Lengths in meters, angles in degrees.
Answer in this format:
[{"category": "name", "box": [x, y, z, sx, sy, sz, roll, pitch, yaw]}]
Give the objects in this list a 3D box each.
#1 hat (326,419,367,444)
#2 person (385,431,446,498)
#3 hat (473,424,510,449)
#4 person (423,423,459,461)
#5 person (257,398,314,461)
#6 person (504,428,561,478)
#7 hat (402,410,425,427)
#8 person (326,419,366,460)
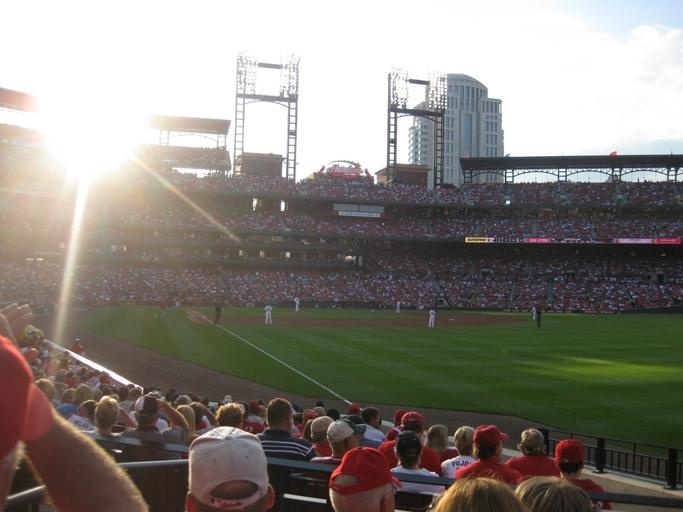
[{"category": "hat", "box": [0.123, 3.405, 15.868, 0.676, 0.252, 0.414, -4, 5, -41]}, {"category": "person", "box": [1.224, 3.848, 15.421, 1.324, 1.006, 0.613, -11, 11, -17]}, {"category": "hat", "box": [2.893, 3.534, 15.816, 0.412, 0.313, 0.638, 1, 10, 44]}, {"category": "person", "box": [2.014, 4.002, 17.216, 0.789, 0.759, 0.460, -3, -9, 25]}, {"category": "person", "box": [-1.255, 3.526, 16.512, 1.716, 1.181, 0.834, -1, 0, 26]}, {"category": "person", "box": [3.704, 3.954, 16.148, 1.353, 0.951, 0.658, 0, 3, 4]}, {"category": "hat", "box": [1.599, 3.425, 17.138, 0.522, 0.369, 0.837, 0, -13, 11]}, {"category": "person", "box": [0.149, 3.496, 15.968, 0.559, 0.512, 0.923, 2, 15, 33]}]
